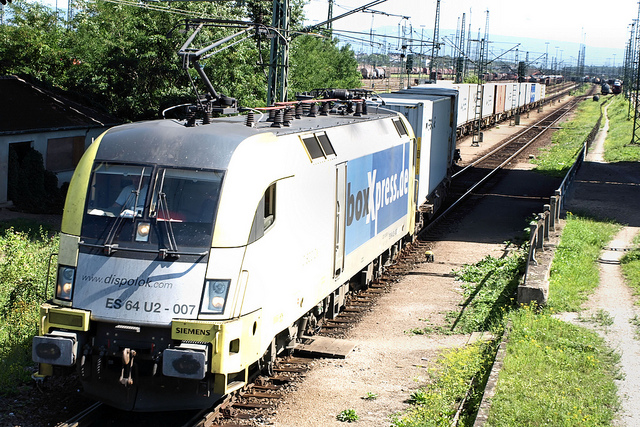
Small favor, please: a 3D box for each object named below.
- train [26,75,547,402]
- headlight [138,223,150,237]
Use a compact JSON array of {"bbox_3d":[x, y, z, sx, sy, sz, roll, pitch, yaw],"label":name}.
[{"bbox_3d":[0.729,-1.461,21.856,5.012,6.695,26.496,1,8,22],"label":"train"},{"bbox_3d":[-3.159,0.278,10.101,0.196,0.196,0.106,4,-6,4],"label":"headlight"}]
